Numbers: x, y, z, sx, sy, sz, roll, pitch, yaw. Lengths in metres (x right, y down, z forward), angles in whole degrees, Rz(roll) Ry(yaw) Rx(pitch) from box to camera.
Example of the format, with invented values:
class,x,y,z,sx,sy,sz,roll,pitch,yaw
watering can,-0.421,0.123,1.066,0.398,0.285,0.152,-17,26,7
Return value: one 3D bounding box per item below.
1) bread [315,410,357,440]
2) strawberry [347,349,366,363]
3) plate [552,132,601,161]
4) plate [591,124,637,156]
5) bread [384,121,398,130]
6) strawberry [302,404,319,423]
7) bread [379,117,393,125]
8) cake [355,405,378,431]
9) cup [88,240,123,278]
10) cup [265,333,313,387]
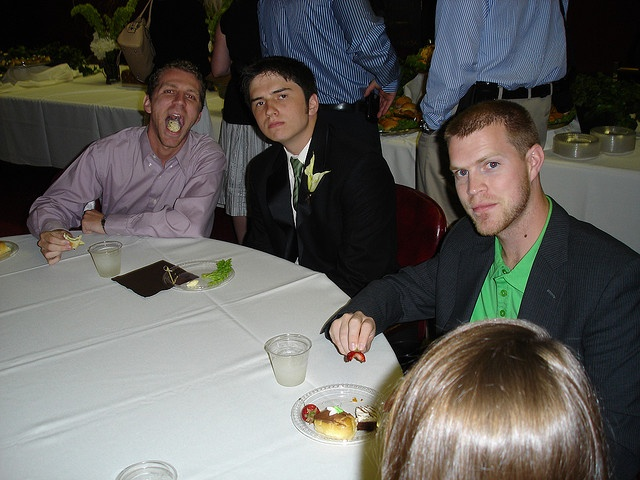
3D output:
class,x,y,z,sx,sy,sz,roll,pitch,yaw
bread,0.033,0.399,0.906,0.095,0.035,0.053,3,21,12
strawberry,0.095,0.299,1.086,0.036,0.031,0.017,-26,2,5
plate,1.430,-0.523,2.305,0.178,0.080,0.191,9,28,27
plate,1.672,-0.534,2.353,0.188,0.099,0.201,-4,13,-1
bread,0.477,-0.780,2.831,0.070,0.041,0.077,-13,49,0
strawberry,-0.025,0.386,0.936,0.028,0.016,0.032,-3,61,26
bread,0.453,-0.816,2.856,0.057,0.030,0.061,-10,46,-16
cake,0.104,0.393,0.927,0.050,0.028,0.050,1,21,6
cup,-0.788,0.064,1.526,0.119,0.121,0.126,-1,15,0
cup,-0.082,0.296,1.054,0.116,0.102,0.109,-1,20,1
